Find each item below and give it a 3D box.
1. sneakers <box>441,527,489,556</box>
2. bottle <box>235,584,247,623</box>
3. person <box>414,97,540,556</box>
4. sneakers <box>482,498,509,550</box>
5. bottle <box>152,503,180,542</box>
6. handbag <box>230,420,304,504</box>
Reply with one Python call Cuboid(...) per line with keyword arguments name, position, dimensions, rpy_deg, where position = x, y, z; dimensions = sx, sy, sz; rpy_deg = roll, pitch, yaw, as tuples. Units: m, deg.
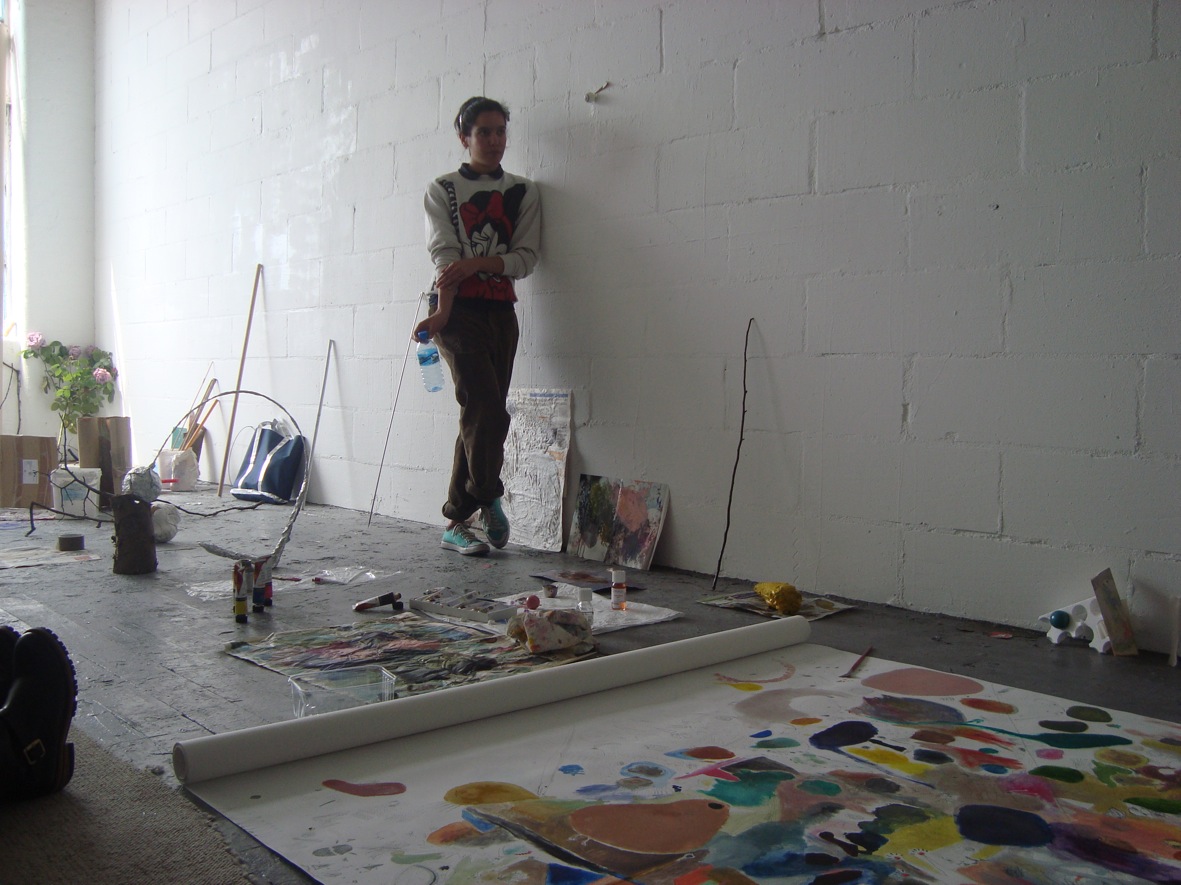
Cuboid(name="sneakers", position=(-0.678, 0.526, 4.209), dimensions=(0.113, 0.118, 0.304), rpy_deg=(0, 1, -44))
Cuboid(name="bottle", position=(-1.280, 0.595, 2.887), dimensions=(0.043, 0.122, 0.079), rpy_deg=(-1, 5, -23))
Cuboid(name="person", position=(-0.581, -0.598, 4.167), dimensions=(0.638, 2.350, 0.373), rpy_deg=(0, 4, -3))
Cuboid(name="sneakers", position=(-0.491, 0.440, 4.278), dimensions=(0.112, 0.310, 0.131), rpy_deg=(-12, 17, -1))
Cuboid(name="bottle", position=(-2.300, 0.438, 4.249), dimensions=(0.197, 0.171, 0.157), rpy_deg=(-17, -10, 26))
Cuboid(name="handbag", position=(-2.421, 0.157, 5.949), dimensions=(0.502, 0.630, 0.326), rpy_deg=(-7, -27, 43))
